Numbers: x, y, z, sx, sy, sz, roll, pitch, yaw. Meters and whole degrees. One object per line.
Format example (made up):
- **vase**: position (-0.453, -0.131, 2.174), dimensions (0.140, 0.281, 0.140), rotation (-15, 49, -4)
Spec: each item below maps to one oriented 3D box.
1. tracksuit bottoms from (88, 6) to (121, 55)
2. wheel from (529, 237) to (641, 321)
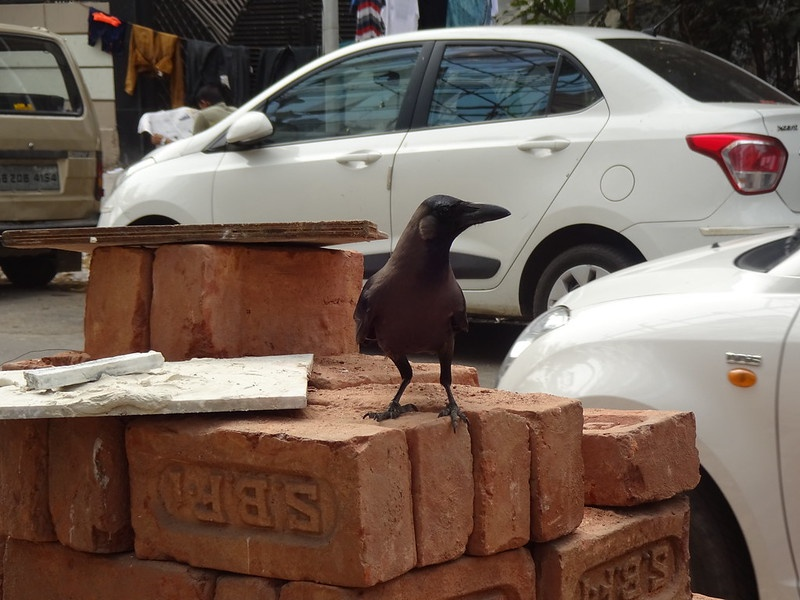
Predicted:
- **tracksuit bottoms**: position (-3.710, -3.453, 14.384), dimensions (0.473, 0.470, 0.102), rotation (22, 11, 7)
- **wheel**: position (0.972, -0.129, 5.906), dimensions (0.154, 0.466, 0.439), rotation (2, 2, -42)
